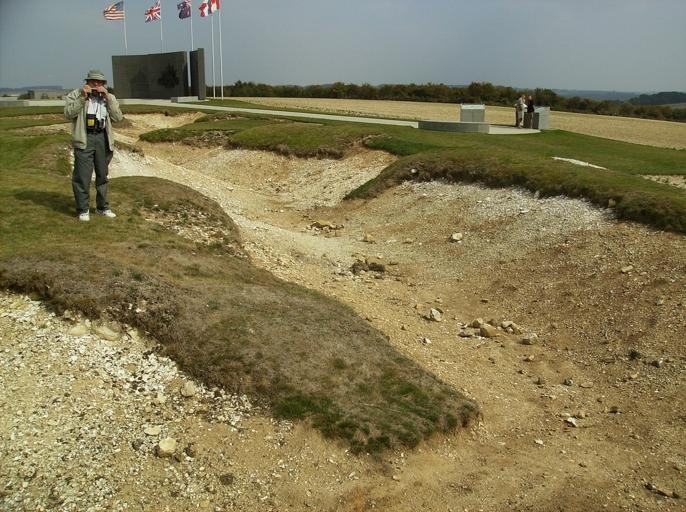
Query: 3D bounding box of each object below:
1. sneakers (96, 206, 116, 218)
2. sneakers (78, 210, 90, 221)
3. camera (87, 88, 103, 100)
[{"bbox_3d":[-7.280,-1.364,16.078,0.504,0.220,0.238,17,39,-8],"label":"sneakers"},{"bbox_3d":[-7.625,-1.179,15.406,0.271,0.250,0.242,4,7,45],"label":"sneakers"},{"bbox_3d":[-6.818,-4.471,14.342,0.269,0.269,0.101,-2,35,-28],"label":"camera"}]
